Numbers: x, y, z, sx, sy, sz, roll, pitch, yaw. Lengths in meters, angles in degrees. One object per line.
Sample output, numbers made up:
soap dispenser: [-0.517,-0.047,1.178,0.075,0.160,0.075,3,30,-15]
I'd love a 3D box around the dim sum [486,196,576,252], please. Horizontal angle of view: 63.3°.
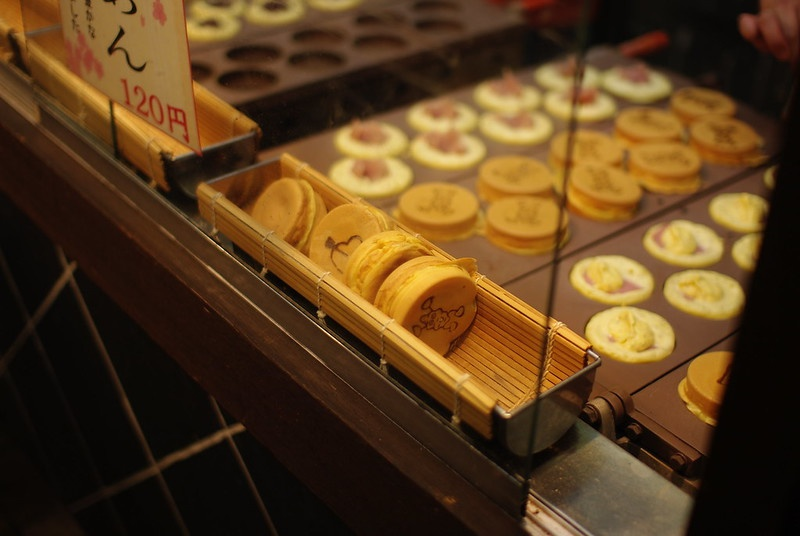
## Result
dim sum: [0.261,-0.089,1.220,0.114,0.040,0.117,-23,42,-27]

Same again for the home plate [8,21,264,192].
home plate: [-0.634,-0.393,1.616,0.150,0.113,0.525,-37,59,-25]

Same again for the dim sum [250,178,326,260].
dim sum: [-0.268,-0.112,1.552,0.165,0.064,0.187,-22,60,30]

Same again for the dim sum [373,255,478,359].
dim sum: [0.060,0.081,1.244,0.182,0.203,0.070,-1,25,-26]
